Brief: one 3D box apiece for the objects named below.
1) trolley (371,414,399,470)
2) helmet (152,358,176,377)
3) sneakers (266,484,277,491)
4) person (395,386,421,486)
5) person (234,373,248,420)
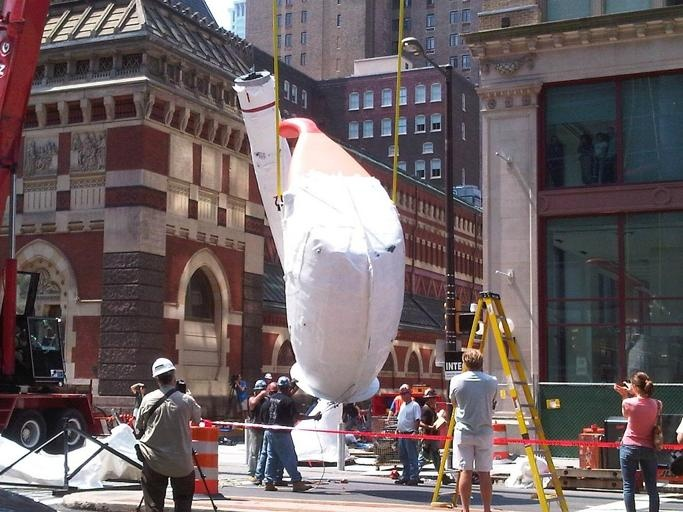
[{"bbox_3d":[1.341,5.347,34.346,0.767,1.448,1.031,2,-8,-3],"label":"trolley"},{"bbox_3d":[-3.247,2.021,22.007,0.459,0.347,0.611,-10,-14,-9],"label":"helmet"},{"bbox_3d":[-1.659,5.370,28.165,0.162,0.130,0.170,1,-7,-9],"label":"sneakers"},{"bbox_3d":[1.682,4.426,30.216,0.585,2.499,1.376,-1,-11,4],"label":"person"},{"bbox_3d":[-4.031,5.533,48.077,0.560,1.777,1.451,0,-11,-5],"label":"person"}]
